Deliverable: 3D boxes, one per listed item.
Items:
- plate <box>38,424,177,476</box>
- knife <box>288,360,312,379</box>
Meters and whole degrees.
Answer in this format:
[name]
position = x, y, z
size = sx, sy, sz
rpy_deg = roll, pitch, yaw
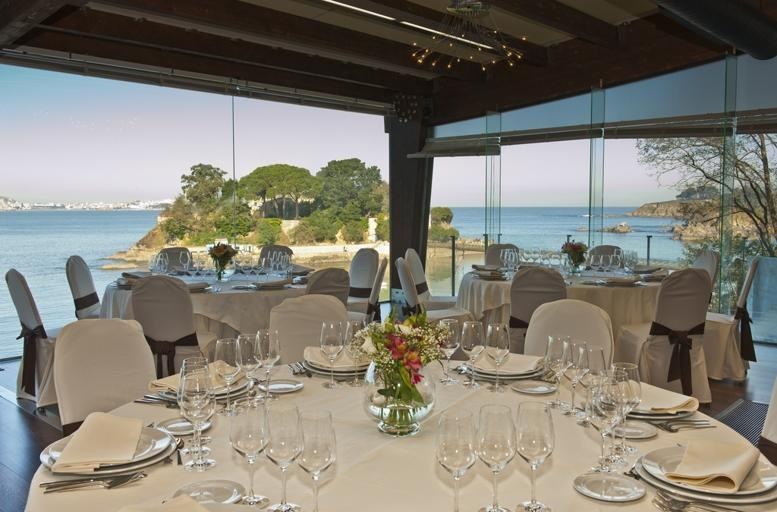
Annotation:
[plate]
position = -1.318, 0.917, 2.515
size = 0.614, 0.126, 0.235
rpy_deg = -2, 4, -9
[knife]
position = -0.558, 0.707, 3.334
size = 0.059, 0.024, 0.207
rpy_deg = 5, 9, -24
